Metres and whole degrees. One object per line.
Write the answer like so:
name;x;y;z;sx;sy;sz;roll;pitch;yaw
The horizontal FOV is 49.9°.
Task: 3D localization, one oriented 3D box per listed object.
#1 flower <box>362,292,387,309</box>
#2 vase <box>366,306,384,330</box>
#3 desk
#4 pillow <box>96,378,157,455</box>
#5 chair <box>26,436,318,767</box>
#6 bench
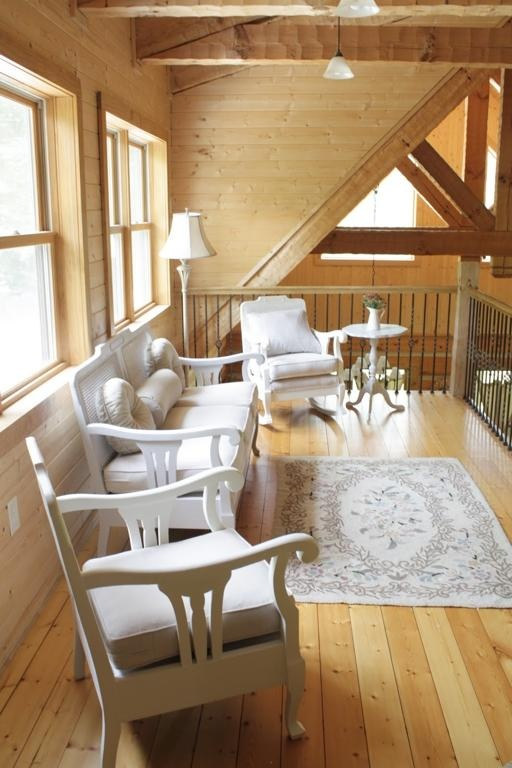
flower;0.976;-0.673;4.534;0.141;0.126;0.145;-2;-1;-23
vase;0.971;-0.551;4.597;0.182;0.198;0.124;0;11;1
desk;1.071;-0.208;4.938;0.529;0.727;1.302;3;12;16
pillow;-0.610;0.154;2.363;0.106;0.305;0.298;-20;-14;12
chair;-0.208;0.533;1.434;0.636;0.827;0.559;-5;12;-20
bench;-0.418;0.246;2.506;0.479;0.624;1.110;-2;14;-1
